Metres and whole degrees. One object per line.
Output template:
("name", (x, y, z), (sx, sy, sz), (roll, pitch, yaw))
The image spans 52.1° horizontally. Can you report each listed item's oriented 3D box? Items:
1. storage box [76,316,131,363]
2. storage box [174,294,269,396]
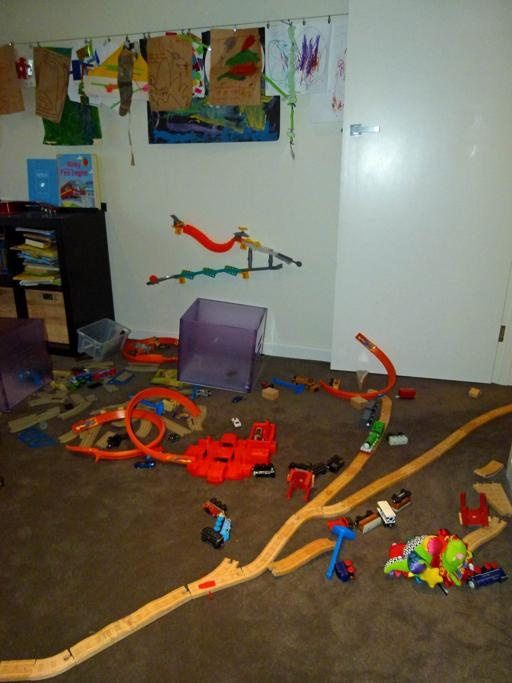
("storage box", (-1.176, -0.040, 4.076), (0.260, 0.185, 0.371), (29, 30, 10))
("storage box", (-0.219, 0.008, 3.766), (0.670, 0.623, 0.663), (9, 17, 7))
